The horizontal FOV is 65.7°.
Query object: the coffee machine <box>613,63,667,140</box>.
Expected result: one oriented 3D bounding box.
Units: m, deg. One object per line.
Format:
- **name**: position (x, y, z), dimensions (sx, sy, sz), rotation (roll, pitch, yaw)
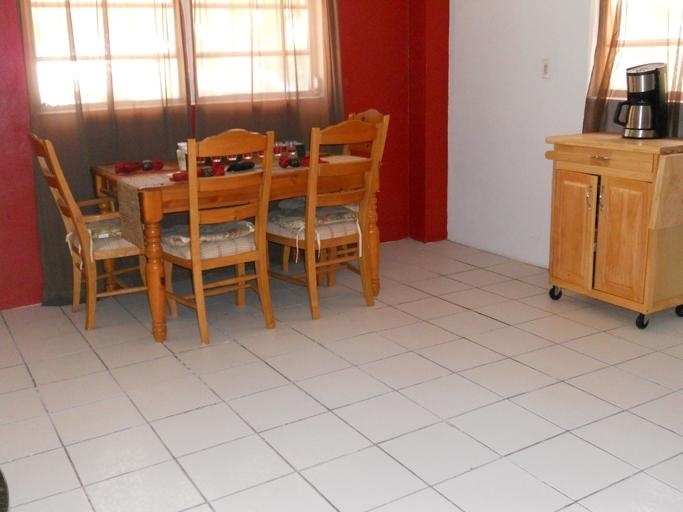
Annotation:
- **coffee machine**: position (1.846, -0.935, 3.196), dimensions (0.225, 0.413, 0.218), rotation (-12, 25, -19)
